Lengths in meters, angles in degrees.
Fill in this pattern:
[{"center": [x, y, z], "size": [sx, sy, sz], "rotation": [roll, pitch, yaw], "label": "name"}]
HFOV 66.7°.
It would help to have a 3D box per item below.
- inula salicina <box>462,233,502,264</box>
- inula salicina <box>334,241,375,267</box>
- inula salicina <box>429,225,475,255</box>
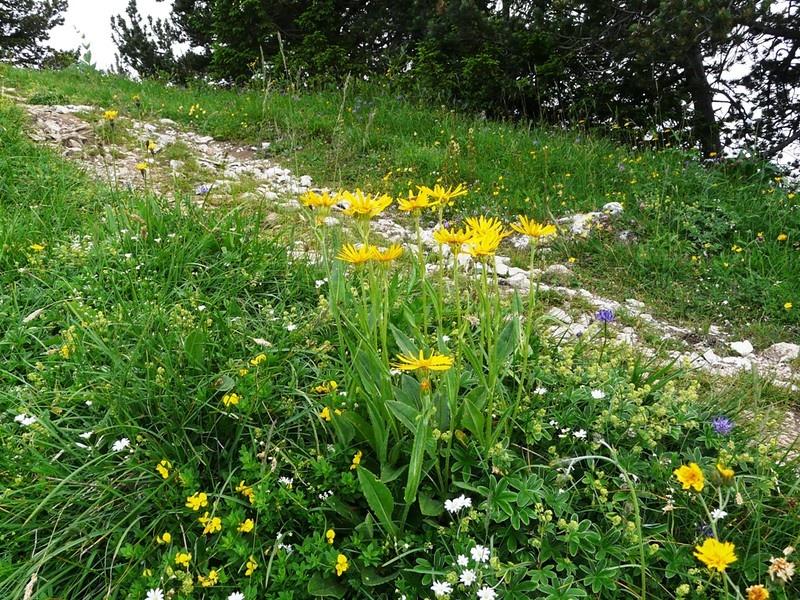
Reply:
[{"center": [0.365, -0.234, 2.687], "size": [0.120, 0.063, 0.140], "rotation": [-17, 39, 19], "label": "inula salicina"}, {"center": [-0.197, -0.189, 2.763], "size": [0.123, 0.060, 0.122], "rotation": [-28, 41, -23], "label": "inula salicina"}, {"center": [0.225, -0.273, 2.688], "size": [0.153, 0.124, 0.158], "rotation": [-1, 10, -21], "label": "inula salicina"}]
